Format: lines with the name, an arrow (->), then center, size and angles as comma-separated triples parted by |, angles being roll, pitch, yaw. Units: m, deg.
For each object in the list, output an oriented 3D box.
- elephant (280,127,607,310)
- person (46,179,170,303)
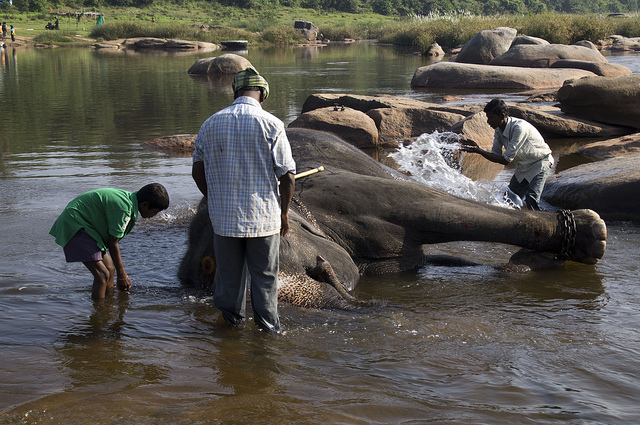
elephant -> 0.699, 0.393, 11.573 | 4.364, 1.745, 1.206 | -6, -24, 2
person -> -2.650, 0.359, 10.419 | 1.250, 1.445, 0.564 | -10, 21, -29
